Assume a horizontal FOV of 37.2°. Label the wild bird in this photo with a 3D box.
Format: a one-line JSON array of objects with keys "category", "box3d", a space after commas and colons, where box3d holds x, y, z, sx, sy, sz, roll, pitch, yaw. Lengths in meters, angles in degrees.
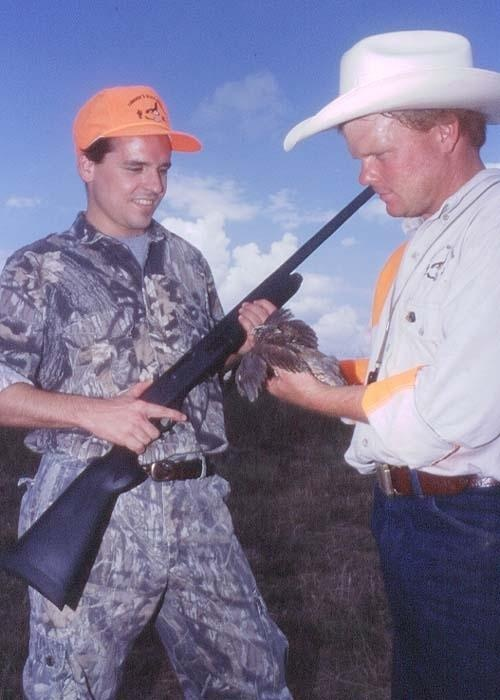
[{"category": "wild bird", "box3d": [0.107, 0.013, 2.733, 0.328, 0.175, 0.411, -31, 24, -30]}]
